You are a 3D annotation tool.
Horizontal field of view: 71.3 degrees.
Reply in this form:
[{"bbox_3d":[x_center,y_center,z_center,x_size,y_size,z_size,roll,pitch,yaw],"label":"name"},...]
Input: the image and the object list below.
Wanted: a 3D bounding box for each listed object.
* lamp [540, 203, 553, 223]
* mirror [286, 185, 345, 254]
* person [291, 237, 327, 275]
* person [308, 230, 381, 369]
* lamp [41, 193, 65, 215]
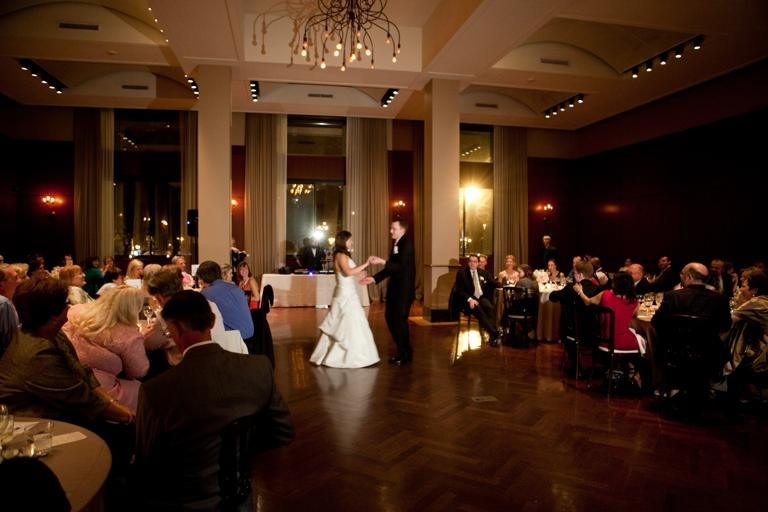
[{"bbox_3d":[4.646,-1.253,15.260,0.381,0.537,0.106,-1,2,-20],"label":"lamp"},{"bbox_3d":[-1.851,-0.973,13.710,1.610,2.099,0.076,0,-1,-12],"label":"mirror"},{"bbox_3d":[-1.882,-0.170,13.637,1.082,1.183,0.694,1,-5,-11],"label":"person"},{"bbox_3d":[-0.562,0.602,7.681,0.966,1.915,0.523,0,2,-1],"label":"person"},{"bbox_3d":[-8.096,-1.297,13.090,0.473,0.519,0.142,-16,7,-30],"label":"lamp"}]
